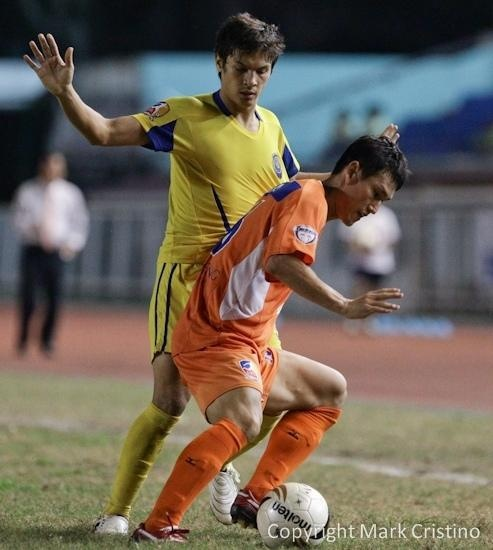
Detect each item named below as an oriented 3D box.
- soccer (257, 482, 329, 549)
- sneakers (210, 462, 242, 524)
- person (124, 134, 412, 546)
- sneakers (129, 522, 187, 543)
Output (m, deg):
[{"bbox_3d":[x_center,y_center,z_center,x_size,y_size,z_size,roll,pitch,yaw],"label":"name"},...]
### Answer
[{"bbox_3d":[0.145,0.942,3.142,0.295,0.255,0.247,-7,-24,-21],"label":"soccer"},{"bbox_3d":[-0.061,0.950,3.454,0.108,0.246,0.118,-6,-31,16],"label":"sneakers"},{"bbox_3d":[0.151,0.237,3.025,0.773,1.595,0.928,2,2,42],"label":"person"},{"bbox_3d":[-0.309,0.939,2.885,0.243,0.076,0.071,0,6,-7],"label":"sneakers"}]
